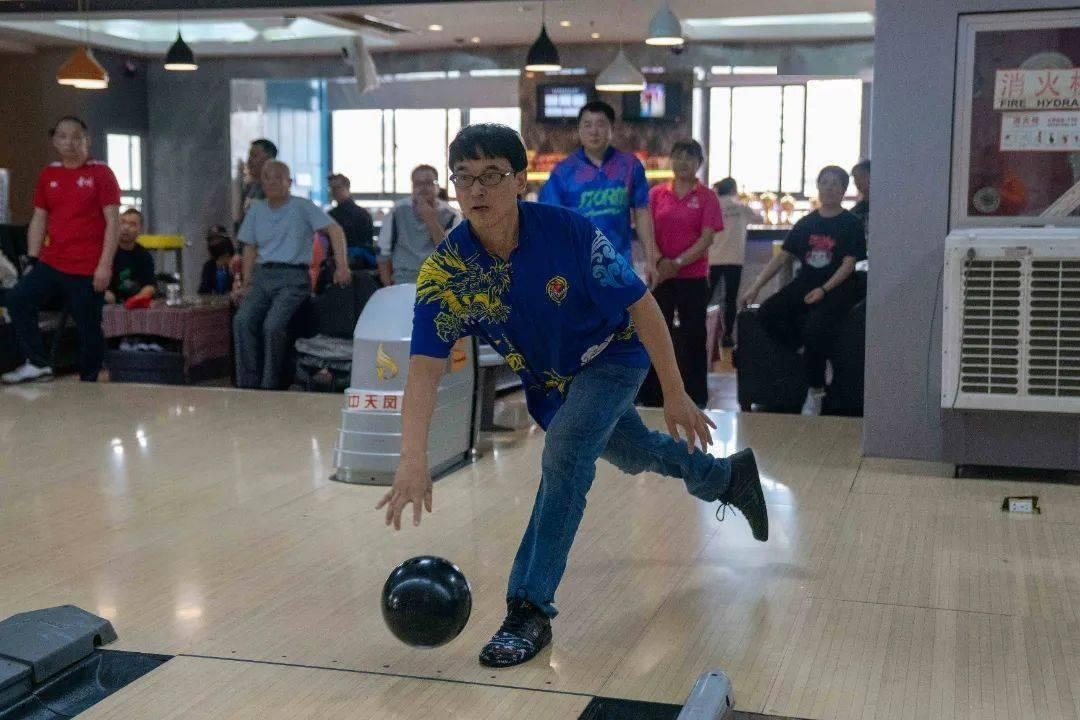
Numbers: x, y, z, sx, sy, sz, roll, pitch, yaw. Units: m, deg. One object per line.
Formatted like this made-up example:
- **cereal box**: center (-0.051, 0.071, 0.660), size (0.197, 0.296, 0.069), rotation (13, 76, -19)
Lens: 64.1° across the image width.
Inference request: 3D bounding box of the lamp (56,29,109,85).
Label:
- **lamp**: center (-4.503, -2.930, 8.558), size (0.666, 0.367, 0.658), rotation (-2, 10, -27)

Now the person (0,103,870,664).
- **person**: center (0.104, 0.082, 2.892), size (1.375, 1.697, 0.586), rotation (-4, 12, -19)

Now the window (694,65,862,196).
- **window**: center (2.978, -2.924, 10.624), size (2.566, 1.860, 0.144), rotation (1, 10, 11)

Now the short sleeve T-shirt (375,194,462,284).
- **short sleeve T-shirt**: center (-1.042, -1.026, 7.453), size (0.743, 0.863, 0.479), rotation (9, 46, -8)

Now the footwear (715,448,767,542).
- **footwear**: center (0.802, 0.509, 3.502), size (0.198, 0.434, 0.146), rotation (-14, 4, -15)

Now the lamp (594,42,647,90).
- **lamp**: center (0.744, -2.692, 7.909), size (0.357, 0.315, 0.444), rotation (8, 13, 35)

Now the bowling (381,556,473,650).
- **bowling**: center (-0.348, 0.752, 2.635), size (0.237, 0.273, 0.201), rotation (-9, 14, -36)

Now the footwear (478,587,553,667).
- **footwear**: center (-0.068, 0.886, 2.856), size (0.114, 0.151, 0.315), rotation (6, 4, 21)

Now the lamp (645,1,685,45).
- **lamp**: center (1.045, -2.852, 7.197), size (0.241, 0.339, 0.467), rotation (2, 11, 9)

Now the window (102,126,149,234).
- **window**: center (-6.256, -3.046, 13.128), size (0.554, 1.010, 0.070), rotation (-7, -18, -25)
